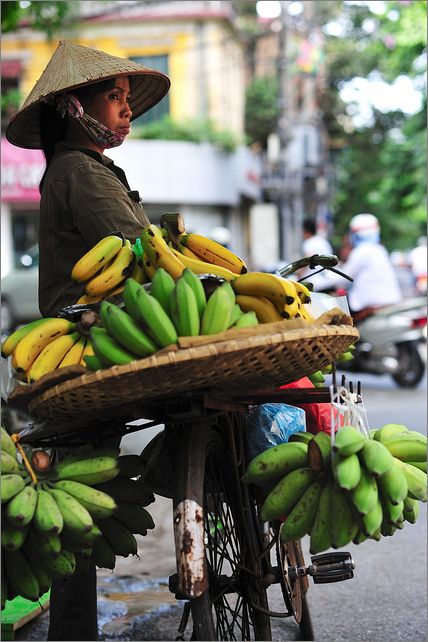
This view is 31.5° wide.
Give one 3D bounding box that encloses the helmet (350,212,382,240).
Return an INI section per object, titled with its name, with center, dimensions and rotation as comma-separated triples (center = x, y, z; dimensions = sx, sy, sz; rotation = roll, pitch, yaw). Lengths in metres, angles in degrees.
[helmet]
center = 1.935, -1.187, 9.492
dimensions = 0.331, 0.350, 0.395
rotation = 2, 15, 21
